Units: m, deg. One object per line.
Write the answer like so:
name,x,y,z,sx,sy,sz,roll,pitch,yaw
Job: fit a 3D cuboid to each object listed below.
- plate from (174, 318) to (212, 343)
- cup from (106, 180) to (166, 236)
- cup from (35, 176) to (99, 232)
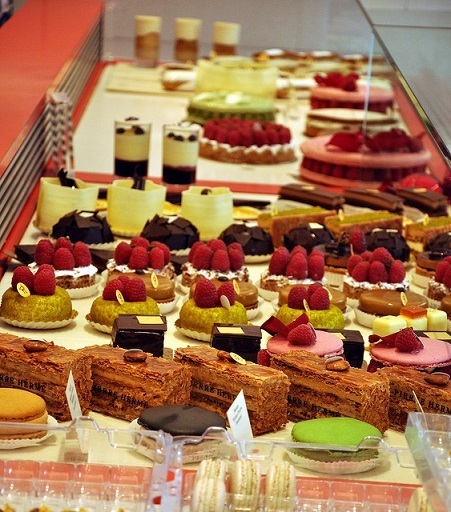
plate,-0.192,0.434,2.627,0.161,0.040,0.152,20,17,15
cup,-0.745,-0.440,3.942,0.545,0.408,0.466,15,23,32
cup,-1.307,-0.411,3.769,0.556,0.413,0.289,5,21,-15
